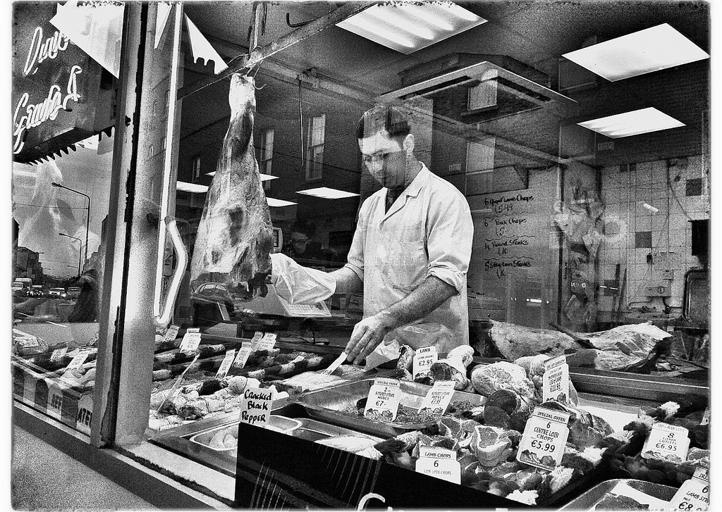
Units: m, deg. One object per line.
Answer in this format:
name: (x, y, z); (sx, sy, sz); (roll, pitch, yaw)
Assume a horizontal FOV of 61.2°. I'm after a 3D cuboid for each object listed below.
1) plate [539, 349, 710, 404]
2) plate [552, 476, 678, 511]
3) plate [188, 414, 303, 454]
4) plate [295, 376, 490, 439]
plate: (0.948, 0.430, 2.132); (0.152, 0.171, 0.517); (8, -5, -43)
plate: (0.734, 0.698, 1.776); (0.351, 0.077, 0.123); (5, -4, -16)
plate: (-0.504, 0.703, 2.463); (0.248, 0.055, 0.353); (-1, -2, 34)
plate: (0.092, 0.559, 2.366); (0.705, 0.197, 0.367); (2, -5, 33)
